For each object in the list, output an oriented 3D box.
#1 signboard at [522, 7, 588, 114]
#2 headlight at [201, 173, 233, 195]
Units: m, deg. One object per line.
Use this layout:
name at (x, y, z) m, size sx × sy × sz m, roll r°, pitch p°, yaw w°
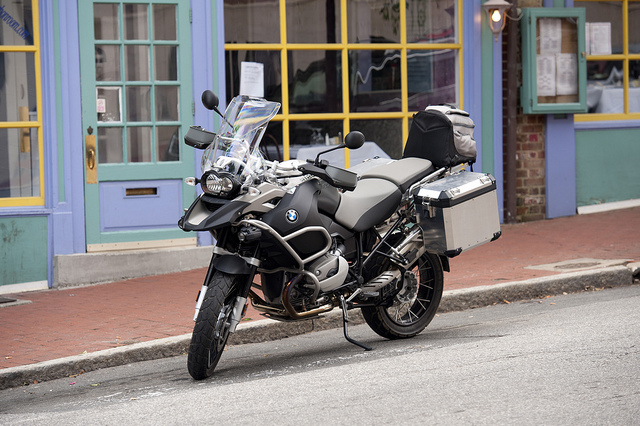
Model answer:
signboard at (4.006, -2.604, 12.995) m, size 1.361 × 1.797 × 0.375 m, roll -6°, pitch 10°, yaw -19°
headlight at (-0.923, -0.262, 6.791) m, size 0.241 × 0.183 × 0.136 m, roll -5°, pitch 26°, yaw -20°
